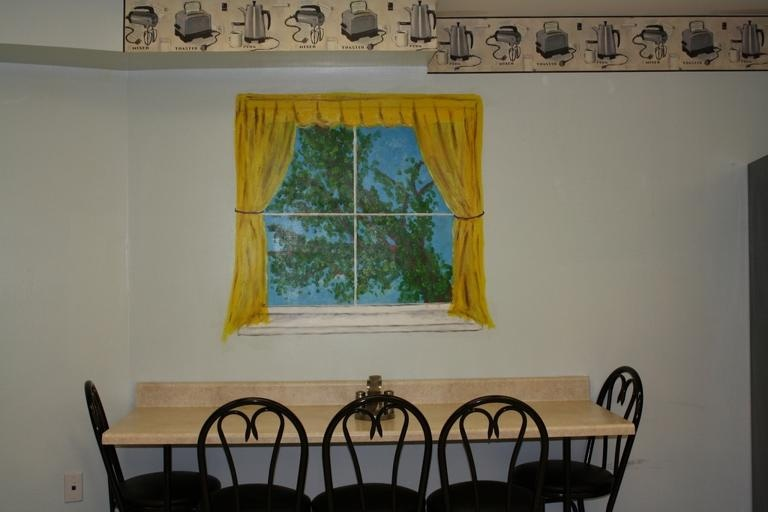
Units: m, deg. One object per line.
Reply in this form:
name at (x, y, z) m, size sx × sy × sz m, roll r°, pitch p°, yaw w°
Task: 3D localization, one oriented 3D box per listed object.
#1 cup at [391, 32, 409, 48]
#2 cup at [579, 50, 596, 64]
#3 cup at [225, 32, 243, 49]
cup at (0.110, -1.520, 6.323) m, size 0.101 × 0.108 × 0.071 m, roll -2°, pitch 8°, yaw -7°
cup at (1.487, -1.461, 6.596) m, size 0.091 × 0.081 × 0.075 m, roll 2°, pitch 6°, yaw 33°
cup at (-1.049, -1.513, 6.261) m, size 0.106 × 0.106 × 0.068 m, roll 10°, pitch 11°, yaw 44°
